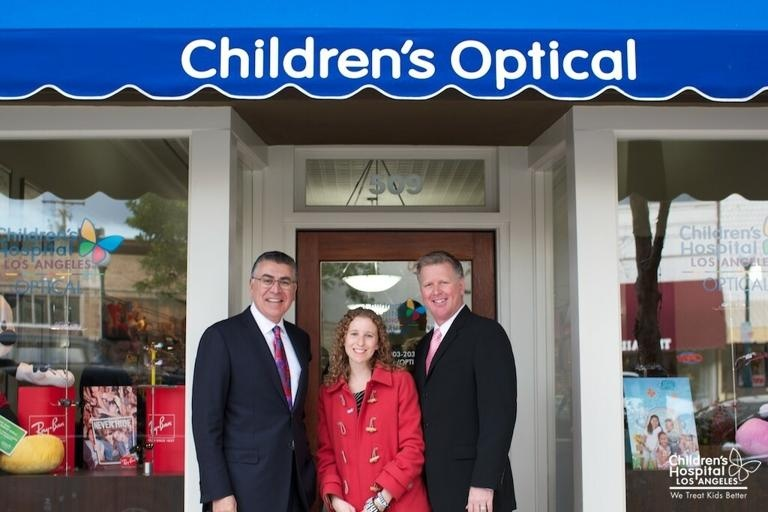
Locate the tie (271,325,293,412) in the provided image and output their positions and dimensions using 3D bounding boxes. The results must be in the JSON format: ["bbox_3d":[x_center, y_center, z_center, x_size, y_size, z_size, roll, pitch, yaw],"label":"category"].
[{"bbox_3d":[-0.701,0.750,5.350,0.088,0.666,0.066,-13,-36,1],"label":"tie"}]
